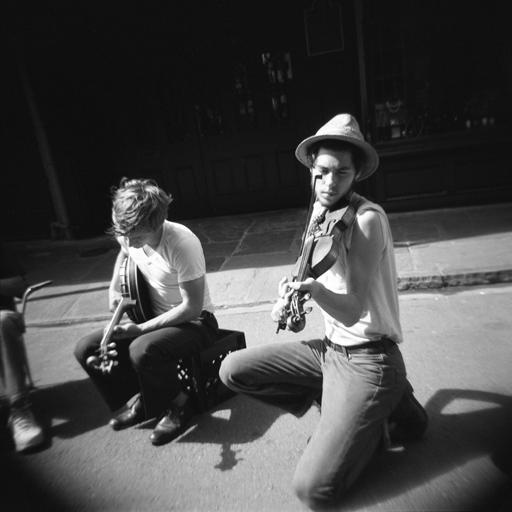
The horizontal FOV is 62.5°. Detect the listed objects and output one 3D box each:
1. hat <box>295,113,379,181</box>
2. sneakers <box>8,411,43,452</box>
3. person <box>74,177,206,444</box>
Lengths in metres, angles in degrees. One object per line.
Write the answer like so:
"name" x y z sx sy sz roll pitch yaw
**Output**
"hat" 0.353 -0.470 1.888 0.345 0.310 0.325 -5 15 6
"sneakers" -1.364 1.028 2.495 0.147 0.223 0.238 -17 18 -37
"person" -0.670 0.302 2.563 0.726 1.658 0.795 4 14 34
